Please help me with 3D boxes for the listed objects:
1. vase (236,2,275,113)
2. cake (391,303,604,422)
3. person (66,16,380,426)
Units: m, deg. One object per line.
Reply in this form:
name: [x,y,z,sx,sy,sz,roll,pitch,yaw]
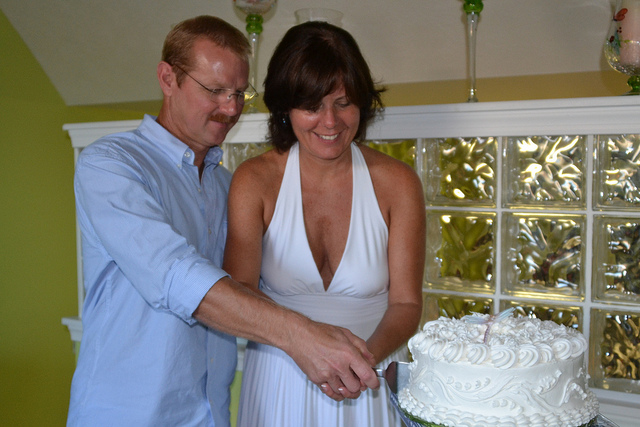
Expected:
vase: [-0.347,-0.865,3.547,0.216,0.650,0.547,-3,3,-5]
cake: [0.603,0.530,2.194,0.700,0.382,0.305,-4,3,-6]
person: [-0.470,0.052,2.441,1.038,1.661,0.529,-3,3,12]
